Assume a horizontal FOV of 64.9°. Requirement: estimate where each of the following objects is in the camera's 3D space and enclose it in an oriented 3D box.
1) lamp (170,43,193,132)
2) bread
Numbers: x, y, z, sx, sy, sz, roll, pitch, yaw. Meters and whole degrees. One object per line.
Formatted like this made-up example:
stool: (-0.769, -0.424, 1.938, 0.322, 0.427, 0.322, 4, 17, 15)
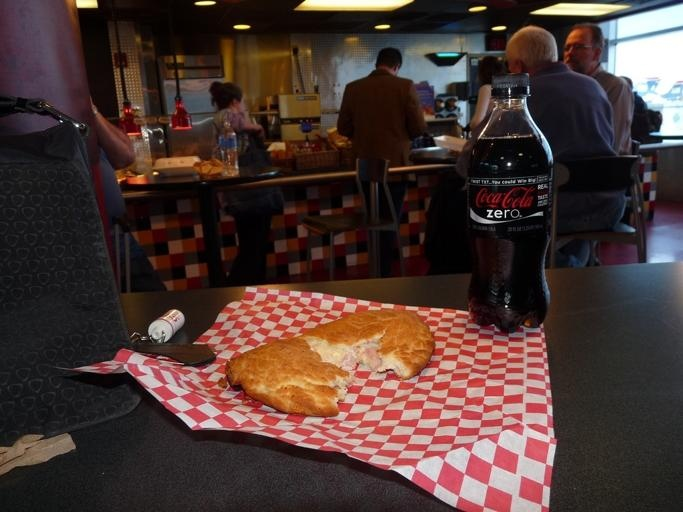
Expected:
lamp: (-1.147, -1.181, 3.779, 0.136, 0.554, 0.130, -8, 8, -29)
bread: (0.004, 0.110, 0.713, 0.204, 0.035, 0.129, -15, 22, -41)
